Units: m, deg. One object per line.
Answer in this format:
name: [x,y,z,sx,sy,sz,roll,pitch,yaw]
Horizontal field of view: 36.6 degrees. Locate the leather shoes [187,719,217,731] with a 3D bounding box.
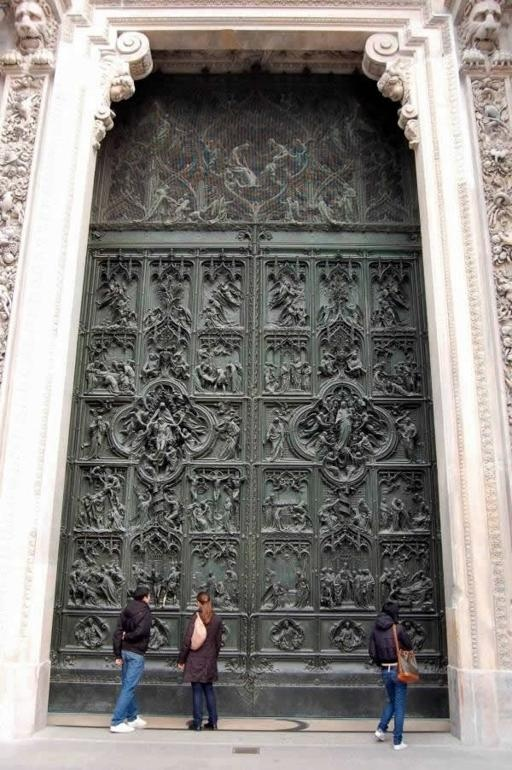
leather shoes: [-0.544,3.436,7.798,0.357,0.150,0.120,-2,-6,7]

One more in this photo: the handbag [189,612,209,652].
handbag: [-0.589,2.485,7.779,0.149,0.354,0.121,-1,-12,8]

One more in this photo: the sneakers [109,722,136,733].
sneakers: [-1.298,3.320,7.534,0.265,0.113,0.096,5,-5,-27]

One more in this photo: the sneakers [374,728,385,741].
sneakers: [1.178,3.332,7.354,0.061,0.126,0.181,1,-26,13]

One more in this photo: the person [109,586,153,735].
person: [-1.249,2.706,7.664,0.346,1.382,0.566,3,-12,-8]

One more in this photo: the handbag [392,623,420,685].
handbag: [1.339,2.446,7.023,0.204,0.510,0.209,-1,-12,10]
